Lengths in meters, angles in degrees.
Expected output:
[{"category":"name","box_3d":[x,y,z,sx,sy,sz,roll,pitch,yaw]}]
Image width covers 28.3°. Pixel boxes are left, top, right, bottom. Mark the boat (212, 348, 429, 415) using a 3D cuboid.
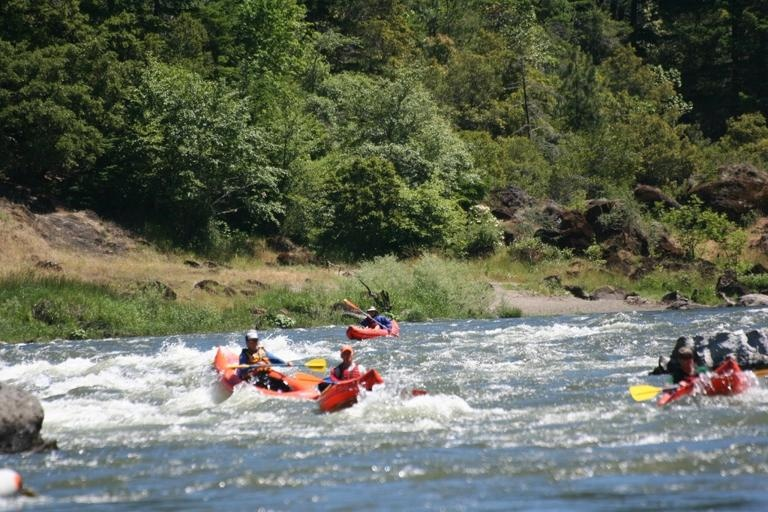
[{"category":"boat","box_3d":[-5.151,7.571,79.388,13.085,2.818,3.933,5,6,40]}]
